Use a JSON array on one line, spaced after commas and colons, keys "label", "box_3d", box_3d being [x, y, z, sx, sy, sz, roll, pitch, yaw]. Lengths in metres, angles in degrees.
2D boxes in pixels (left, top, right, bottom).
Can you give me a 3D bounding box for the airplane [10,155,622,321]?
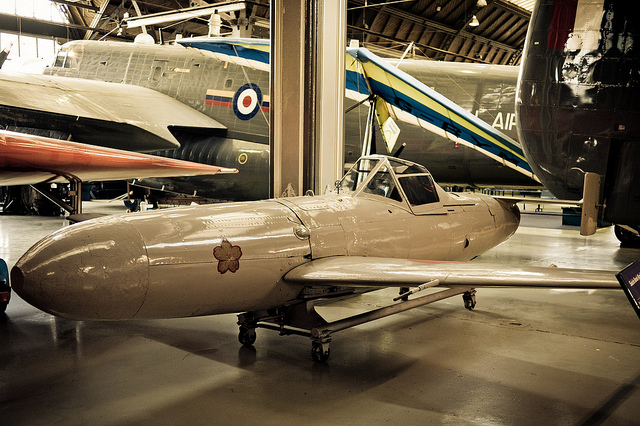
[{"label": "airplane", "box_3d": [-0.376, 0.204, 6.288, 5.728, 1.615, 2.726, -2, 12, -9]}]
